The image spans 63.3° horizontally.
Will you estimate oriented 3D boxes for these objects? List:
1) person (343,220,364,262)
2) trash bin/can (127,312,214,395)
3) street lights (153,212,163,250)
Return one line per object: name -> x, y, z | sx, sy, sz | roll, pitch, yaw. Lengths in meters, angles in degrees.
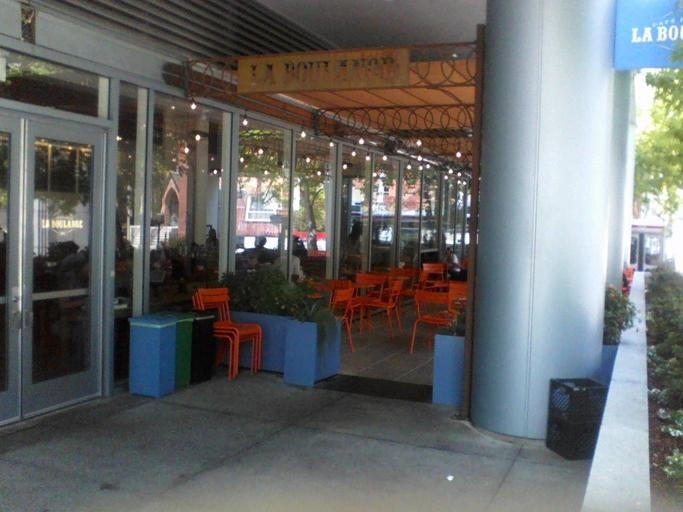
person -> 0.384, -0.416, 14.154 | 0.206, 0.993, 0.951 | 0, 3, 20
trash bin/can -> -2.170, 1.253, 7.321 | 0.490, 0.975, 1.036 | 1, 3, 38
street lights -> -2.568, -0.366, 7.963 | 0.026, 0.488, 0.227 | 0, 3, 19
